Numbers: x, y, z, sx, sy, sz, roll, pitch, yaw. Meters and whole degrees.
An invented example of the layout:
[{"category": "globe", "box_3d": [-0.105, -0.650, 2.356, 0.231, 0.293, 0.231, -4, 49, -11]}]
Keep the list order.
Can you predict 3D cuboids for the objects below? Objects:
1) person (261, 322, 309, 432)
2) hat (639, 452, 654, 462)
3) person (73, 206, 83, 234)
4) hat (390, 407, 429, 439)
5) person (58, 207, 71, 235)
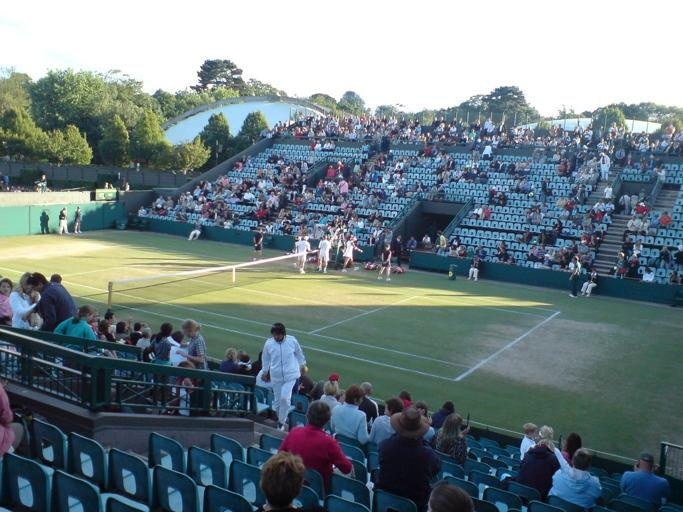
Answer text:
[{"category": "person", "box_3d": [-1.236, 2.693, 16.892, 1.111, 2.374, 0.792, 1, -2, -40]}, {"category": "hat", "box_3d": [5.950, 3.891, 14.672, 0.177, 0.248, 0.221, -10, 0, 9]}, {"category": "person", "box_3d": [-15.388, -2.088, 44.265, 0.445, 1.548, 1.247, 4, 4, -20]}, {"category": "hat", "box_3d": [1.154, 2.861, 12.896, 0.591, 0.257, 0.715, 2, 32, -2]}, {"category": "person", "box_3d": [-15.855, -1.973, 43.385, 0.583, 1.519, 1.228, 4, 4, -20]}]
